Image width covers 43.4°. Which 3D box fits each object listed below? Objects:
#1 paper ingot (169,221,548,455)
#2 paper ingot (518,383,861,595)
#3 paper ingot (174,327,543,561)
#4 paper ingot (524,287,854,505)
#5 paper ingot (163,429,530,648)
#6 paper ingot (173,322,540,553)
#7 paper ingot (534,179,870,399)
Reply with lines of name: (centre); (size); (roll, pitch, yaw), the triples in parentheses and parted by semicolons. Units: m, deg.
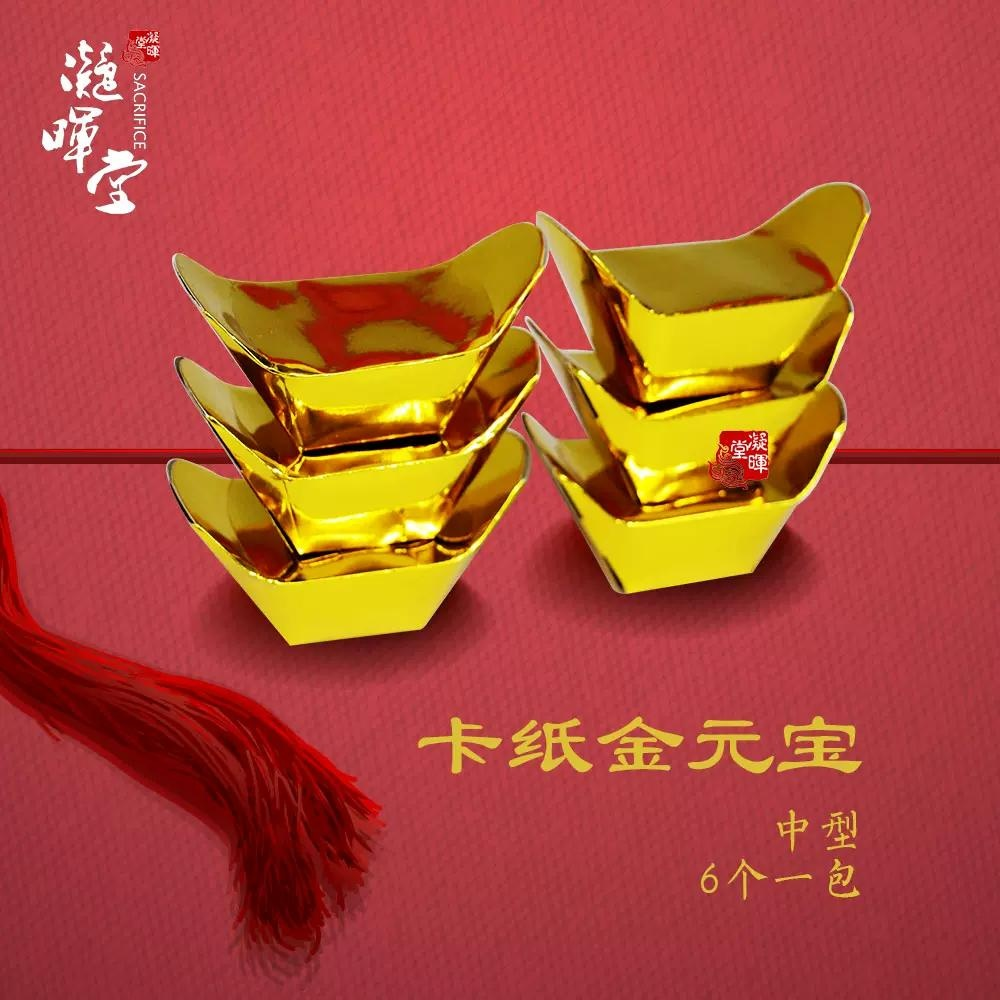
paper ingot: (-0.082, -0.113, 0.910); (0.307, 0.147, 0.168); (-5, 36, -11)
paper ingot: (0.165, -0.026, 1.078); (0.227, 0.160, 0.305); (12, 9, -12)
paper ingot: (-0.103, -0.039, 0.957); (0.270, 0.136, 0.174); (-4, 21, -9)
paper ingot: (0.163, -0.116, 1.005); (0.252, 0.127, 0.164); (5, 23, -6)
paper ingot: (-0.132, -0.033, 1.019); (0.217, 0.119, 0.297); (-14, 16, -28)
paper ingot: (-0.094, -0.023, 0.913); (0.255, 0.127, 0.171); (-3, 21, -11)
paper ingot: (0.159, -0.147, 0.983); (0.259, 0.135, 0.167); (-6, 16, -7)
